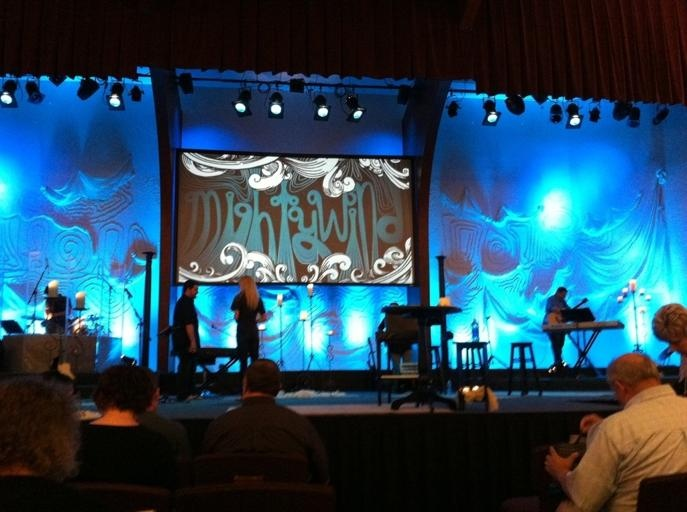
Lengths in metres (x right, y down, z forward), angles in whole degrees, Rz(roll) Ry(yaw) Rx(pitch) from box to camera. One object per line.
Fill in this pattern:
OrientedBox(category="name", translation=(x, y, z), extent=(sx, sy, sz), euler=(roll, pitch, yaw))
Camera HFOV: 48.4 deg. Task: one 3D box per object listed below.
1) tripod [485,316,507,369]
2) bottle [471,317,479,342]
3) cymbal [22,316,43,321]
OrientedBox(category="tripod", translation=(2.686, 1.486, 13.382), extent=(0.403, 0.906, 0.135), euler=(2, -8, -19))
OrientedBox(category="bottle", translation=(2.292, 1.262, 13.275), extent=(0.144, 0.390, 0.272), euler=(-2, -8, 9))
OrientedBox(category="cymbal", translation=(-4.707, 0.936, 11.605), extent=(0.170, 0.045, 0.174), euler=(2, 7, -28))
